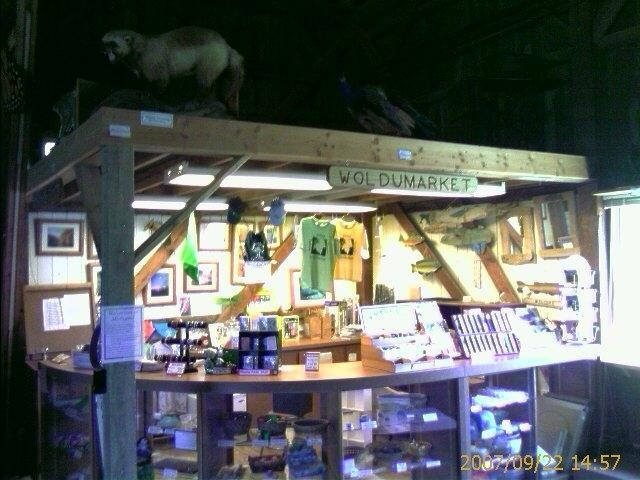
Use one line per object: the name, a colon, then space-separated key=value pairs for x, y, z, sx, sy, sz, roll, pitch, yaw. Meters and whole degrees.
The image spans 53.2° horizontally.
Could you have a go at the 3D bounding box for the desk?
desk: x=1.963 y=1.003 z=8.633 sx=1.450 sy=0.564 sz=0.317 roll=-2 pitch=-7 yaw=28

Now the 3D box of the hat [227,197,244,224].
hat: x=-1.053 y=-0.374 z=7.905 sx=0.200 sy=0.310 sz=0.115 roll=2 pitch=5 yaw=-28

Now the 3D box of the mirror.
mirror: x=2.840 y=-0.167 z=8.150 sx=0.092 sy=0.740 sz=0.840 roll=3 pitch=-4 yaw=-34

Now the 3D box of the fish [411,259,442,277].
fish: x=1.592 y=0.410 z=9.596 sx=0.163 sy=0.245 sz=0.531 roll=1 pitch=-4 yaw=-39

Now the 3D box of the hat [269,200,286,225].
hat: x=-0.516 y=-0.319 z=7.454 sx=0.179 sy=0.293 sz=0.112 roll=-2 pitch=25 yaw=-11

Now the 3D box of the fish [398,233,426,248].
fish: x=1.351 y=0.002 z=9.790 sx=0.542 sy=0.311 sz=0.112 roll=5 pitch=3 yaw=43
